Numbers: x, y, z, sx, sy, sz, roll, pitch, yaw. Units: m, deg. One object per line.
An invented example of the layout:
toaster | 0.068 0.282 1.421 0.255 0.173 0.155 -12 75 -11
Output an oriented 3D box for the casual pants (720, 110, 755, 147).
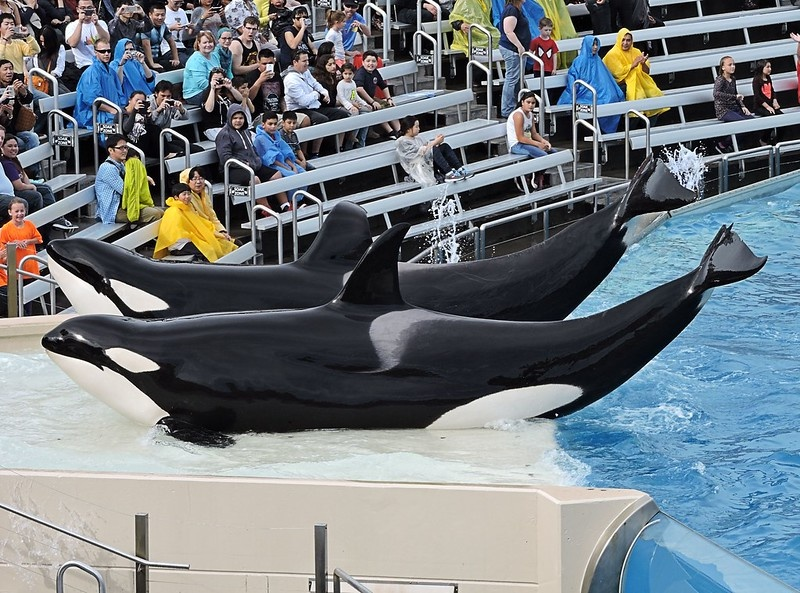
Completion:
casual pants | 5.124 -2.491 25.322 0.144 0.474 0.548 16 11 40

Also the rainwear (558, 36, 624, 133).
rainwear | 2.905 -3.135 25.072 1.120 1.385 0.844 -11 10 -25

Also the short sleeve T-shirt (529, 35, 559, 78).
short sleeve T-shirt | 2.143 -3.515 24.799 0.477 0.507 0.202 -1 19 -17

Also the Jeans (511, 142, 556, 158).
Jeans | 1.803 -1.978 22.976 0.410 0.098 0.239 5 20 8

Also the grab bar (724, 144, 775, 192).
grab bar | 4.904 -1.724 23.333 0.831 0.427 0.122 -17 28 -26

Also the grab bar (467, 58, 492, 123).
grab bar | 1.116 -2.942 24.440 0.434 0.930 0.110 1 -8 -28

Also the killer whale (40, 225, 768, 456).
killer whale | -0.244 0.297 15.376 5.939 1.919 0.545 -2 10 -6

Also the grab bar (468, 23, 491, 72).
grab bar | 1.171 -3.558 24.436 0.361 0.616 0.079 12 28 25

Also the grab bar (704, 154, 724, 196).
grab bar | 4.355 -1.624 23.065 0.265 0.561 0.327 0 10 10
